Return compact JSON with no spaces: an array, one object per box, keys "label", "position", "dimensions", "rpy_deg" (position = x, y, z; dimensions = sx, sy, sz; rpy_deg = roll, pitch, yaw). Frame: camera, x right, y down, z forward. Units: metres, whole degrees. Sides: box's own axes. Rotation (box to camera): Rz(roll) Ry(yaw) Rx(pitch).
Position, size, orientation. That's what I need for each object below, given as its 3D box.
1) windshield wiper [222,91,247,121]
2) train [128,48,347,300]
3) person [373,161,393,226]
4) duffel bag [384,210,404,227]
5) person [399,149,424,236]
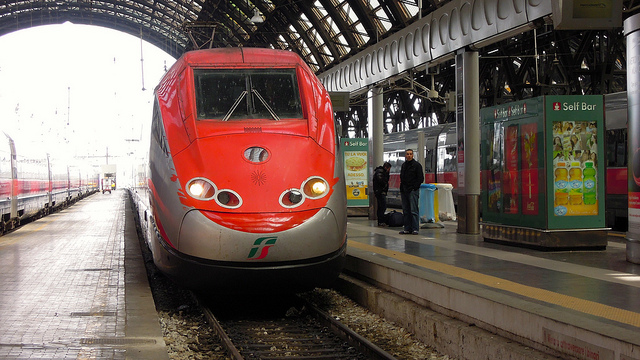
[{"label":"windshield wiper","position":[-1.647,-1.375,7.923],"dimensions":[0.082,0.032,0.809],"rpy_deg":[8,53,50]},{"label":"train","position":[-1.324,-0.253,7.612],"dimensions":[3.531,4.687,1.913],"rpy_deg":[0,1,4]},{"label":"person","position":[2.259,0.531,15.494],"dimensions":[0.606,2.336,1.283],"rpy_deg":[0,1,8]},{"label":"duffel bag","position":[2.679,1.390,15.352],"dimensions":[0.487,0.652,0.656],"rpy_deg":[2,-7,-7]},{"label":"person","position":[2.744,0.393,12.700],"dimensions":[0.670,2.582,0.498],"rpy_deg":[0,1,10]}]
